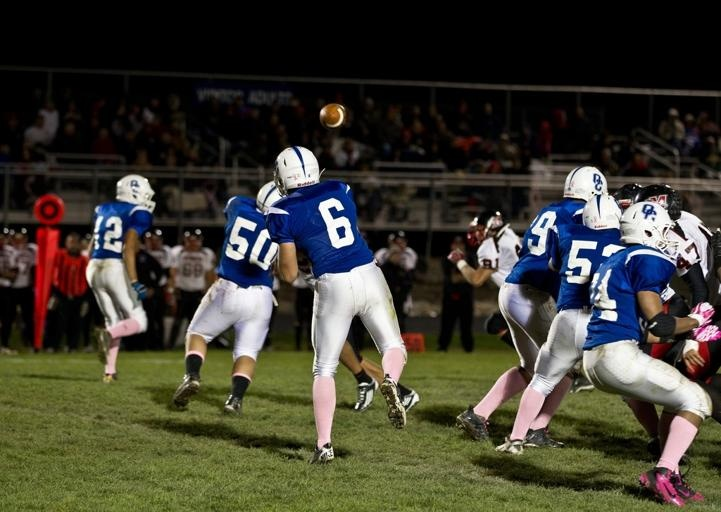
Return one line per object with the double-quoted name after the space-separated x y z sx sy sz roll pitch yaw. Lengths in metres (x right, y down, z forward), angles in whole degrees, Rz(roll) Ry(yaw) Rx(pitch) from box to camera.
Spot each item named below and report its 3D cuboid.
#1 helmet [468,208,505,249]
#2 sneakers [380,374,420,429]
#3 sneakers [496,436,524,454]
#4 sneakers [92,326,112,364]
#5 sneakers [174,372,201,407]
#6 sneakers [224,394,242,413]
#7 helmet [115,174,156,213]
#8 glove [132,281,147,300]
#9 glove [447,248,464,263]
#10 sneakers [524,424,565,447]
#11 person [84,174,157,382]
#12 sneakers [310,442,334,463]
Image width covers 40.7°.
1.622 -0.378 12.653 0.460 0.499 0.376 2 -2 42 "helmet"
0.422 1.645 10.940 0.216 0.656 0.283 -14 11 30 "sneakers"
1.602 2.005 10.383 0.129 0.164 0.356 4 -4 -10 "sneakers"
-3.391 1.145 12.696 0.158 0.516 0.237 -15 -15 26 "sneakers"
-2.041 1.571 11.421 0.160 0.416 0.217 38 12 -7 "sneakers"
-1.474 1.697 11.129 0.187 0.222 0.141 -1 12 -9 "sneakers"
-2.937 -0.793 13.080 0.517 0.506 0.423 6 -16 6 "helmet"
-2.931 0.432 12.896 0.181 0.267 0.104 -13 4 16 "glove"
1.185 -0.009 12.235 0.162 0.181 0.149 36 31 -16 "glove"
1.979 1.979 10.767 0.512 0.246 0.184 4 -8 -3 "sneakers"
-3.186 0.312 12.917 0.911 2.675 0.875 -3 12 -15 "person"
-0.406 2.028 10.265 0.248 0.205 0.282 0 13 -4 "sneakers"
